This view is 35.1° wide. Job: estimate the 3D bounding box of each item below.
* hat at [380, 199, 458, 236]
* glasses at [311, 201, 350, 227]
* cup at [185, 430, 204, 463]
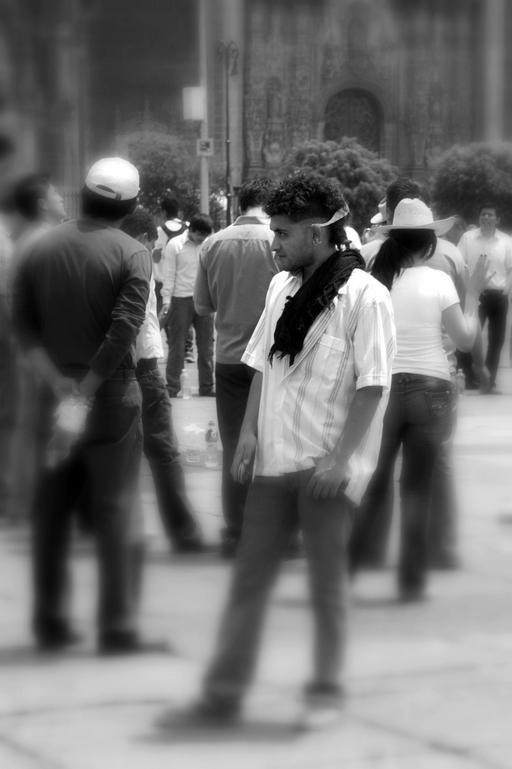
[{"bbox_3d":[0.505,-0.521,2.503,0.173,0.080,0.203,-2,-6,11],"label":"hat"},{"bbox_3d":[0.183,-0.409,1.985,0.075,0.023,0.065,-25,4,-11],"label":"glasses"},{"bbox_3d":[-0.271,0.278,3.476,0.071,0.117,0.116,1,-2,2],"label":"cup"}]
